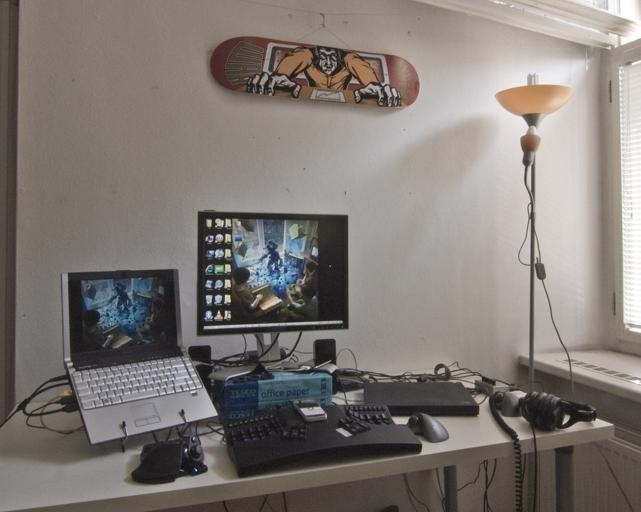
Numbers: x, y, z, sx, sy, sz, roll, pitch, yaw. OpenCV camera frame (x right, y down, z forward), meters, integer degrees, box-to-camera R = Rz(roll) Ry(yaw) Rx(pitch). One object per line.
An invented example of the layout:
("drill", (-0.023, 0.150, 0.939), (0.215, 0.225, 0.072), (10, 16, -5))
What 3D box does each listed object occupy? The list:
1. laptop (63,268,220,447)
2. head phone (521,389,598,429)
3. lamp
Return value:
("laptop", (-0.643, 0.302, 2.114), (0.431, 0.369, 0.558), (-2, 24, -26))
("head phone", (0.913, 0.574, 2.205), (0.185, 0.094, 0.143), (-13, -8, 5))
("lamp", (1.052, -0.098, 2.939), (0.327, 1.518, 0.403), (-2, 3, 21))
